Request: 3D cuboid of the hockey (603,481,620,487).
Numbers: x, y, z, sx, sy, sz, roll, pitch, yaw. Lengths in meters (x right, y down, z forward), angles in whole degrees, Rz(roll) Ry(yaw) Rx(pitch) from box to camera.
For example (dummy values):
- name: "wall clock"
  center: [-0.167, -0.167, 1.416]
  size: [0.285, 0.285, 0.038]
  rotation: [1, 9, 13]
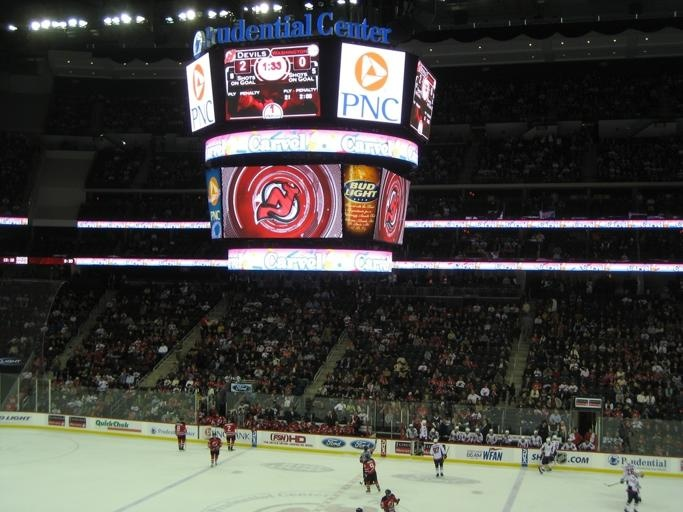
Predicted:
- name: "hockey"
  center: [12.012, 10.139, 35.081]
  size: [0.996, 0.072, 0.365]
  rotation: [-13, -32, 18]
